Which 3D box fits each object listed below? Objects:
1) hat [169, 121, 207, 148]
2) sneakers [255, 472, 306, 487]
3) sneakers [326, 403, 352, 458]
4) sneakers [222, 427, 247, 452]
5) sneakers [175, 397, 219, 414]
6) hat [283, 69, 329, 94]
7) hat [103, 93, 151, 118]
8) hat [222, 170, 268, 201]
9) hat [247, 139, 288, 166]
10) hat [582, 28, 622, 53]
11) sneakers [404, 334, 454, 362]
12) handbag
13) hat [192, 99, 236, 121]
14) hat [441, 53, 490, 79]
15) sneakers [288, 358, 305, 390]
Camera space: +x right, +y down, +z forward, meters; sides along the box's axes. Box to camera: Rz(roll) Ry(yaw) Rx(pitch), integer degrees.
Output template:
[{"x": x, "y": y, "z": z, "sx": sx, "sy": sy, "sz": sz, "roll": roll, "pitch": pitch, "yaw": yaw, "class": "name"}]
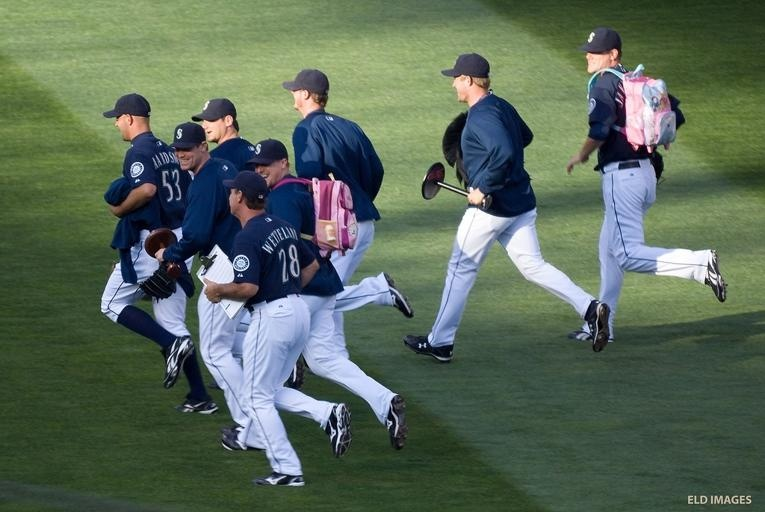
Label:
[{"x": -1.912, "y": -1.218, "z": 15.044, "sx": 0.270, "sy": 0.159, "sz": 0.347, "roll": 11, "pitch": 21, "yaw": 30, "class": "hat"}, {"x": -0.944, "y": 2.119, "z": 14.161, "sx": 0.513, "sy": 0.145, "sz": 0.153, "roll": 2, "pitch": 0, "yaw": -1, "class": "sneakers"}, {"x": -0.385, "y": 1.668, "z": 14.240, "sx": 0.325, "sy": 0.494, "sz": 0.213, "roll": -8, "pitch": 21, "yaw": 11, "class": "sneakers"}, {"x": -1.461, "y": 1.795, "z": 14.589, "sx": 0.213, "sy": 0.208, "sz": 0.257, "roll": -11, "pitch": 22, "yaw": -8, "class": "sneakers"}, {"x": -1.866, "y": 1.543, "z": 15.201, "sx": 0.460, "sy": 0.140, "sz": 0.136, "roll": 2, "pitch": 3, "yaw": -2, "class": "sneakers"}, {"x": -0.770, "y": -1.820, "z": 15.521, "sx": 0.466, "sy": 0.164, "sz": 0.269, "roll": 5, "pitch": 18, "yaw": 10, "class": "hat"}, {"x": -2.673, "y": -1.555, "z": 15.492, "sx": 0.534, "sy": 0.196, "sz": 0.278, "roll": 4, "pitch": 11, "yaw": 5, "class": "hat"}, {"x": -1.272, "y": -0.671, "z": 14.126, "sx": 0.416, "sy": 0.168, "sz": 0.258, "roll": 14, "pitch": 16, "yaw": 17, "class": "hat"}, {"x": -1.111, "y": -1.016, "z": 14.630, "sx": 0.349, "sy": 0.255, "sz": 0.312, "roll": -9, "pitch": 22, "yaw": -5, "class": "hat"}, {"x": 2.423, "y": -2.363, "z": 16.370, "sx": 0.494, "sy": 0.182, "sz": 0.272, "roll": 1, "pitch": 22, "yaw": 1, "class": "hat"}, {"x": 0.534, "y": 0.986, "z": 16.059, "sx": 0.661, "sy": 0.227, "sz": 0.211, "roll": 19, "pitch": -2, "yaw": 9, "class": "sneakers"}, {"x": 2.858, "y": -1.557, "z": 16.004, "sx": 0.539, "sy": 0.957, "sz": 0.513, "roll": -4, "pitch": 25, "yaw": 11, "class": "handbag"}, {"x": -1.677, "y": -1.509, "z": 15.402, "sx": 0.473, "sy": 0.163, "sz": 0.263, "roll": -4, "pitch": 10, "yaw": -16, "class": "hat"}, {"x": 0.884, "y": -2.007, "z": 15.805, "sx": 0.437, "sy": 0.275, "sz": 0.438, "roll": -8, "pitch": 21, "yaw": -4, "class": "hat"}, {"x": -0.874, "y": 1.242, "z": 15.495, "sx": 0.151, "sy": 0.329, "sz": 0.174, "roll": 20, "pitch": 6, "yaw": -9, "class": "sneakers"}]
